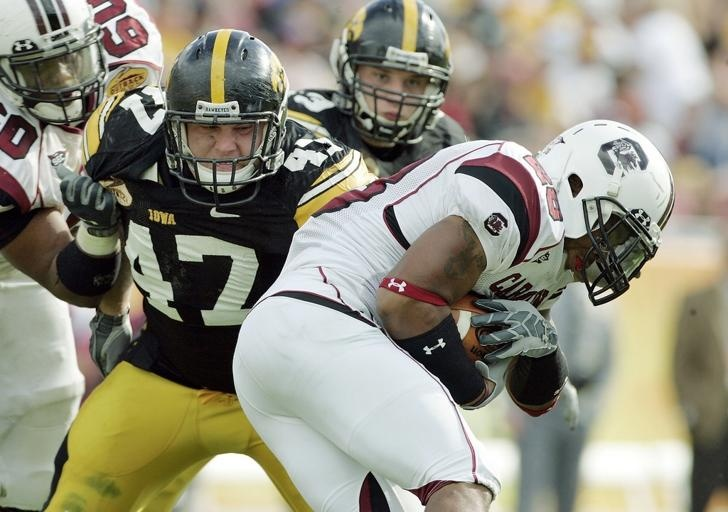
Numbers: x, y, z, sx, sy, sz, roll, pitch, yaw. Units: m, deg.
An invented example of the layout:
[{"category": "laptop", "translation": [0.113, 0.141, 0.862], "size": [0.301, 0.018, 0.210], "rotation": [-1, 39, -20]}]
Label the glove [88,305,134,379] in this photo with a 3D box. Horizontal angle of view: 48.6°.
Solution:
[{"category": "glove", "translation": [-1.169, 0.341, 3.725], "size": [0.154, 0.302, 0.221], "rotation": [14, 35, 1]}]

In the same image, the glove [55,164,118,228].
[{"category": "glove", "translation": [-1.136, -0.250, 3.322], "size": [0.111, 0.198, 0.262], "rotation": [-43, 81, -8]}]
